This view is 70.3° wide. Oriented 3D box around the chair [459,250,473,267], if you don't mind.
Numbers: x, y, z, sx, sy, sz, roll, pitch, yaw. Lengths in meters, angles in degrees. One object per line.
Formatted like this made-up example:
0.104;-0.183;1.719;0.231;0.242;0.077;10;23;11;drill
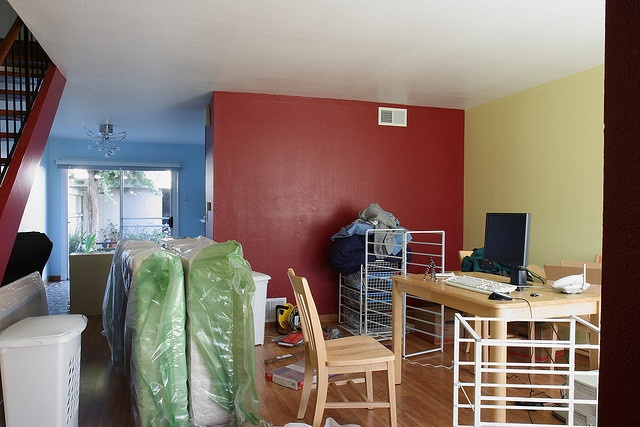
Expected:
1.708;0.515;5.302;0.135;0.137;0.406;1;-1;17;chair

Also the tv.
1.536;0.283;3.712;0.230;0.494;0.633;4;5;-7;tv

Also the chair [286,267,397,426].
0.117;1.007;4.062;1.161;1.607;0.980;-2;0;-9;chair

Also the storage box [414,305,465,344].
1.337;1.270;5.336;0.274;0.301;0.458;12;-14;-17;storage box

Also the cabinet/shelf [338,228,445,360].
0.730;0.885;4.878;0.761;1.307;1.345;0;-1;-11;cabinet/shelf

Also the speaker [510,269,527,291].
1.520;0.507;3.466;0.142;0.166;0.147;-2;-4;35;speaker

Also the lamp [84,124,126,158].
-3.776;-1.367;8.027;0.677;0.354;0.619;2;-3;-31;lamp

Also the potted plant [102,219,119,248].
-4.059;0.410;8.891;0.272;0.499;0.413;2;-1;-36;potted plant
